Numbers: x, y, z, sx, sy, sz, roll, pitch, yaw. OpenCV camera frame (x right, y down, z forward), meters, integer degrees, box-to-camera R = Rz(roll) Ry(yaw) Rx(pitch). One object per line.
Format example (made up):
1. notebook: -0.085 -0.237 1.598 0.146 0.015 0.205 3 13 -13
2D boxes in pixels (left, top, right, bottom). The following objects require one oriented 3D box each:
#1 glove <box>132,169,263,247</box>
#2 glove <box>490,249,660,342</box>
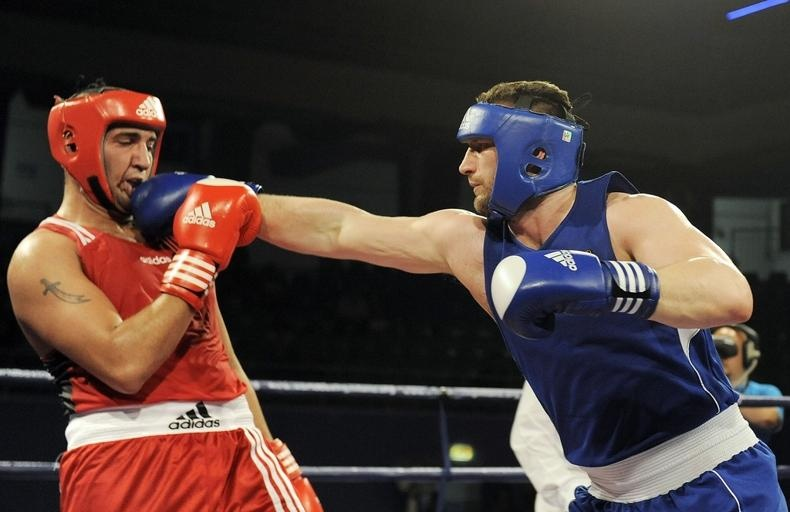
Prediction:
1. glove: -1.429 -0.402 6.862 0.437 0.335 0.824 31 36 27
2. glove: 1.114 0.284 6.235 0.779 0.344 0.577 2 -13 -15
